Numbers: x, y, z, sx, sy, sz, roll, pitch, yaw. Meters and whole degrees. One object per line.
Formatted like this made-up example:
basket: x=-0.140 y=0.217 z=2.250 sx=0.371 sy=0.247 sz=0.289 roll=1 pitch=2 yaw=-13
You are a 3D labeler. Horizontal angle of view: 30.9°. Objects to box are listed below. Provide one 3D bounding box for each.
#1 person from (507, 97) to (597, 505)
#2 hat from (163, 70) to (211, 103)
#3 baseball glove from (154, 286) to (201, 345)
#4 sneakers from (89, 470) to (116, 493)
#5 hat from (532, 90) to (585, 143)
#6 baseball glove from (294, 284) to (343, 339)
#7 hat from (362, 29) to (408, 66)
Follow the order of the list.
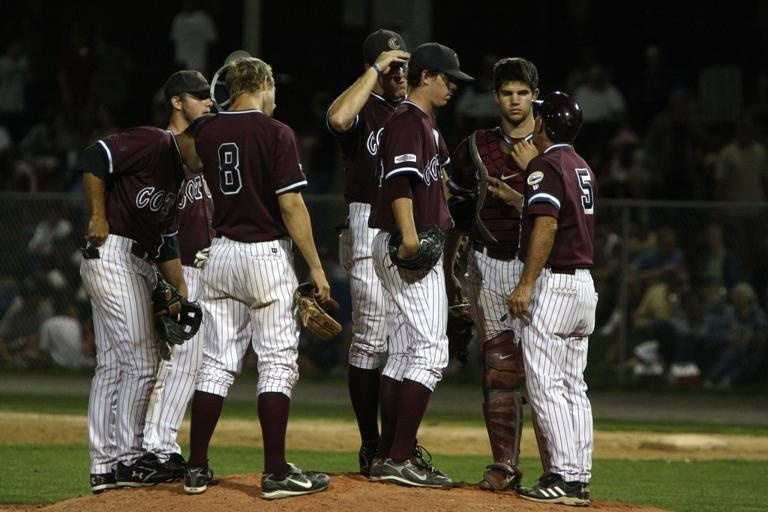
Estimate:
person: x=1.879 y=0.433 z=15.117 sx=0.952 sy=4.426 sz=0.608 roll=3 pitch=4 yaw=6
hat: x=-2.269 y=-1.952 z=16.027 sx=0.441 sy=0.235 sz=0.329 roll=-11 pitch=9 yaw=5
baseball glove: x=-2.186 y=0.682 z=15.351 sx=0.550 sy=0.276 sz=0.737 roll=37 pitch=-13 yaw=16
sneakers: x=-3.090 y=2.464 z=15.276 sx=0.287 sy=0.233 sz=0.184 roll=3 pitch=4 yaw=-5
hat: x=1.917 y=-1.588 z=15.398 sx=0.467 sy=0.500 sz=0.648 roll=-25 pitch=40 yaw=-37
baseball glove: x=-0.757 y=0.623 z=15.278 sx=0.683 sy=0.278 sz=0.508 roll=33 pitch=6 yaw=-3
hat: x=0.013 y=-2.370 z=15.606 sx=0.454 sy=0.286 sz=0.355 roll=-7 pitch=19 yaw=9
